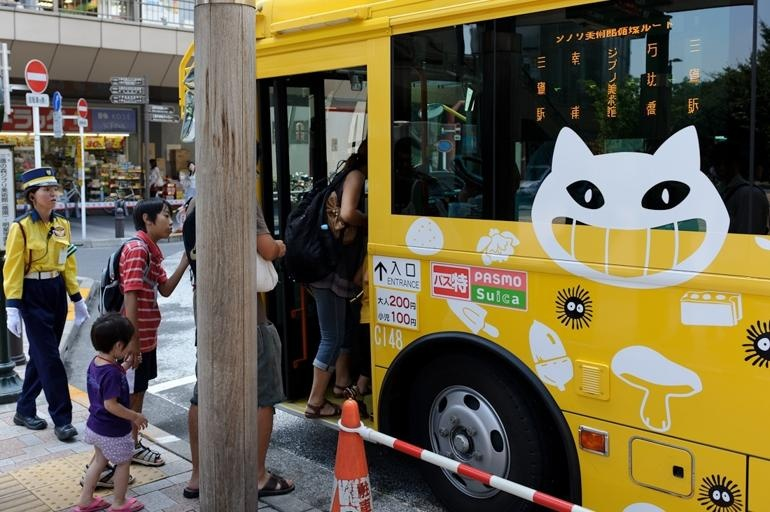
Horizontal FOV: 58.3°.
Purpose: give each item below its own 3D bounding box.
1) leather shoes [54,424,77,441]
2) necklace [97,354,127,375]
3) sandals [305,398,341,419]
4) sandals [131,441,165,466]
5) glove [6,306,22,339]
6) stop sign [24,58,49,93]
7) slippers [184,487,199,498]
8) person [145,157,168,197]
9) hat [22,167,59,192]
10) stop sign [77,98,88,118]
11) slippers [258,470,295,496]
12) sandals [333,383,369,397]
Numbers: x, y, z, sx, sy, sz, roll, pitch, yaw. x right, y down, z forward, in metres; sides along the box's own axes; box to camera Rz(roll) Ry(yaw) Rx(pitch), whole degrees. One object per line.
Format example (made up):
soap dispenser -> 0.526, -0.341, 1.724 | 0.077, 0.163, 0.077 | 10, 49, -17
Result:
leather shoes -> -2.913, 1.620, 6.323 | 0.233, 0.109, 0.093 | 0, -1, 42
necklace -> -2.104, 0.786, 5.324 | 0.175, 0.106, 0.249 | 9, 3, -16
sandals -> -0.541, 1.317, 5.959 | 0.267, 0.118, 0.146 | -3, 3, -15
sandals -> -2.044, 1.722, 5.993 | 0.331, 0.158, 0.141 | 3, -2, 4
glove -> -3.410, 0.622, 6.375 | 0.080, 0.323, 0.227 | -4, 4, -4
stop sign -> -6.371, -3.320, 12.644 | 0.318, 0.630, 1.099 | -3, 10, -28
slippers -> -1.514, 1.862, 5.426 | 0.084, 0.055, 0.148 | 2, -1, -40
person -> -8.762, -3.051, 26.609 | 0.545, 1.394, 2.031 | -1, 9, -18
hat -> -3.249, -0.712, 6.437 | 0.294, 0.124, 0.212 | -3, 9, 36
stop sign -> -7.840, -3.839, 17.937 | 0.196, 0.469, 1.014 | -3, 10, -26
slippers -> -0.861, 1.832, 5.537 | 0.309, 0.138, 0.123 | -5, 0, -17
sandals -> -0.299, 1.242, 6.320 | 0.339, 0.140, 0.131 | -1, -1, -14
